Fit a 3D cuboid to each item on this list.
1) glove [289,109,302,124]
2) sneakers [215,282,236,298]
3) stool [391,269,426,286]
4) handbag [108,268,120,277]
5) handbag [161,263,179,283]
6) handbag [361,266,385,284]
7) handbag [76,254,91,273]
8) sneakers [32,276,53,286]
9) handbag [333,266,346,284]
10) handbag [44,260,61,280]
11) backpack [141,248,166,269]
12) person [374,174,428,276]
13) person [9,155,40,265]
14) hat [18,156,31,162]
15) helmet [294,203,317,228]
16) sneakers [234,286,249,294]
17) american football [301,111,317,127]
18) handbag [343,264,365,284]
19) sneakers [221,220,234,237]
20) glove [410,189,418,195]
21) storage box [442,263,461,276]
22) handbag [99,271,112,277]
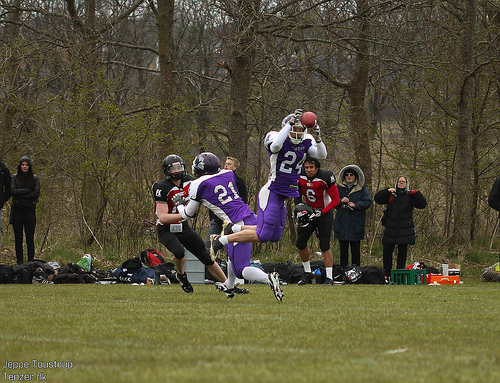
[{"bbox_3d":[0.995,-1.619,21.611,0.105,0.321,0.236,39,-4,-24],"label":"glove"},{"bbox_3d":[-0.605,2.134,21.981,0.545,0.200,0.249,37,-2,-5],"label":"sneakers"},{"bbox_3d":[3.849,2.108,24.677,0.509,0.306,0.512,-1,-1,14],"label":"stool"},{"bbox_3d":[-3.298,1.974,24.599,0.200,0.148,0.267,5,-6,-18],"label":"handbag"},{"bbox_3d":[-1.952,1.969,24.558,0.337,0.253,0.772,-10,28,-13],"label":"handbag"},{"bbox_3d":[2.981,2.040,24.646,0.582,0.427,0.343,2,-5,5],"label":"handbag"},{"bbox_3d":[-4.158,1.821,25.312,0.308,0.272,0.192,12,-23,29],"label":"handbag"},{"bbox_3d":[-5.005,2.159,24.278,0.553,0.233,0.186,1,-4,-1],"label":"sneakers"},{"bbox_3d":[2.169,2.044,24.625,0.239,0.389,0.393,-2,0,13],"label":"handbag"},{"bbox_3d":[-4.815,1.916,24.814,0.326,0.435,0.164,-10,-36,36],"label":"handbag"},{"bbox_3d":[-2.441,1.637,25.280,0.310,0.303,0.840,-16,8,-31],"label":"backpack"},{"bbox_3d":[3.691,0.763,25.171,1.172,2.348,0.343,2,-5,7],"label":"person"},{"bbox_3d":[-5.697,0.450,25.492,0.697,2.734,0.484,3,-5,-13],"label":"person"},{"bbox_3d":[-5.723,-0.847,25.662,0.223,0.235,0.297,6,2,-24],"label":"hat"},{"bbox_3d":[1.282,0.525,23.432,0.563,0.412,0.408,-3,32,1],"label":"helmet"},{"bbox_3d":[-0.207,2.212,22.378,0.381,0.173,0.135,8,20,-5],"label":"sneakers"},{"bbox_3d":[1.246,-1.554,21.429,0.300,0.340,0.316,2,-1,5],"label":"american football"},{"bbox_3d":[2.491,2.024,24.618,0.428,0.401,0.190,2,-5,3],"label":"handbag"},{"bbox_3d":[-0.476,0.783,21.598,0.256,0.282,0.148,2,-5,1],"label":"sneakers"},{"bbox_3d":[4.075,0.008,25.163,0.246,0.123,0.142,3,-5,-12],"label":"glove"},{"bbox_3d":[4.967,1.938,25.061,0.474,0.365,0.254,0,-5,0],"label":"storage box"},{"bbox_3d":[-3.531,2.019,24.601,0.224,0.089,0.162,5,1,-15],"label":"handbag"}]
